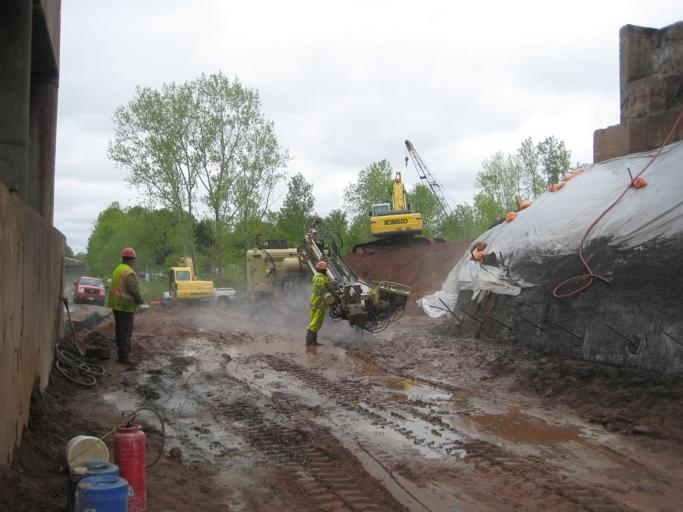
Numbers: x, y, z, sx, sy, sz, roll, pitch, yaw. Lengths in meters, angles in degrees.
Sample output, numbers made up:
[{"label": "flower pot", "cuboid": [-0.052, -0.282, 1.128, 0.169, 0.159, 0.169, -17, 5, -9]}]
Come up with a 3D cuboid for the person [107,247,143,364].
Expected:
[{"label": "person", "cuboid": [-3.987, 0.871, 9.911, 0.576, 2.046, 1.275, -1, 5, -24]}]

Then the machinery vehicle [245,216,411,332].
[{"label": "machinery vehicle", "cuboid": [-0.678, 0.372, 14.508, 1.604, 2.536, 5.764, 7, -3, -37]}]

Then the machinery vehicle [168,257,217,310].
[{"label": "machinery vehicle", "cuboid": [-7.321, 1.225, 25.933, 1.718, 2.069, 2.436, -3, 6, -41]}]

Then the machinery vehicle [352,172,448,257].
[{"label": "machinery vehicle", "cuboid": [2.368, -1.838, 25.322, 3.478, 3.776, 5.975, -5, -3, 1]}]

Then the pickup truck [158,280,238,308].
[{"label": "pickup truck", "cuboid": [-6.680, 2.000, 26.224, 2.757, 0.939, 1.561, 1, -1, -15]}]

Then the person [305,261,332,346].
[{"label": "person", "cuboid": [-0.501, 1.100, 12.188, 0.565, 1.917, 1.243, 1, 5, -3]}]

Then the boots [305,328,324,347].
[{"label": "boots", "cuboid": [-0.632, 1.788, 11.919, 0.377, 0.471, 0.253, -1, 4, -18]}]

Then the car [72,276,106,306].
[{"label": "car", "cuboid": [-12.626, 1.791, 26.861, 1.246, 1.198, 2.557, 3, -9, -27]}]
